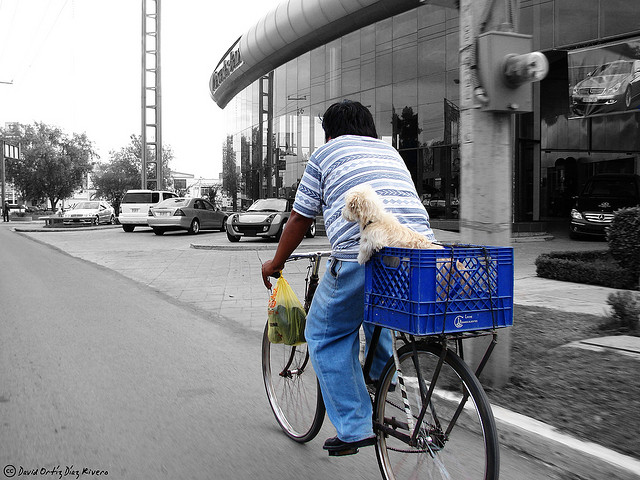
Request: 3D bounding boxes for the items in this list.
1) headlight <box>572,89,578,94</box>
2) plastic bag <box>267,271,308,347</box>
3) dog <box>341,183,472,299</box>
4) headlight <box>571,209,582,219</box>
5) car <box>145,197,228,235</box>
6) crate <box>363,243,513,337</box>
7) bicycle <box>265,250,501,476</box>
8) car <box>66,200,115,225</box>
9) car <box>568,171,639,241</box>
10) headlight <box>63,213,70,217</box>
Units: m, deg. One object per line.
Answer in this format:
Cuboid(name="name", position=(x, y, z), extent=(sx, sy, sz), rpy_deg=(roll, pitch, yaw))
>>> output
Cuboid(name="headlight", position=(9.633, -5.617, 18.520), extent=(0.164, 0.201, 0.045), rpy_deg=(-1, -3, 23))
Cuboid(name="plastic bag", position=(-0.266, 0.482, 3.555), extent=(0.228, 0.624, 0.305), rpy_deg=(7, -27, -24))
Cuboid(name="dog", position=(0.457, -0.016, 2.730), extent=(0.714, 0.249, 0.466), rpy_deg=(21, -39, 3))
Cuboid(name="headlight", position=(9.402, -0.989, 17.989), extent=(0.107, 0.338, 0.425), rpy_deg=(-2, 5, -18))
Cuboid(name="car", position=(-6.526, -1.231, 24.632), extent=(1.214, 1.783, 3.856), rpy_deg=(3, 6, 41))
Cuboid(name="crate", position=(0.622, 0.198, 2.607), extent=(0.514, 0.406, 0.527), rpy_deg=(-1, 3, -35))
Cuboid(name="bicycle", position=(0.438, 0.784, 3.431), extent=(0.939, 1.479, 2.148), rpy_deg=(2, 0, -31))
Cuboid(name="car", position=(-16.416, -2.002, 35.269), extent=(2.259, 1.719, 4.037), rpy_deg=(-1, 5, -8))
Cuboid(name="car", position=(10.666, -1.270, 18.352), extent=(2.711, 2.538, 1.894), rpy_deg=(-4, 5, -38))
Cuboid(name="headlight", position=(-17.143, -1.754, 33.314), extent=(0.399, 0.136, 0.428), rpy_deg=(0, 0, -28))
